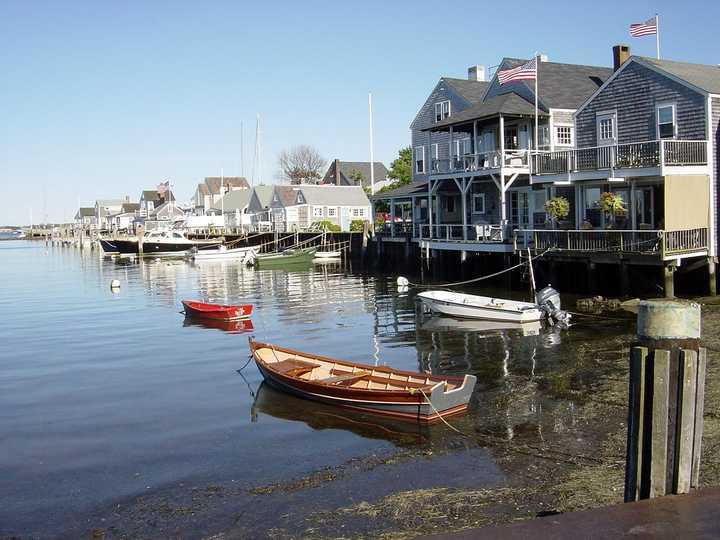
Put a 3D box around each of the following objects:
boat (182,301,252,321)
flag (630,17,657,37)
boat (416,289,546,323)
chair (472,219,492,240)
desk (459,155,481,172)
[{"bbox_3d":[-5.401,1.535,30.495,3.079,0.629,0.607,5,14,38],"label":"boat"},{"bbox_3d":[10.808,-9.226,31.057,0.929,0.600,0.998,1,12,25],"label":"flag"},{"bbox_3d":[4.089,1.215,28.024,3.932,0.673,1.416,7,14,36],"label":"boat"},{"bbox_3d":[5.323,-1.727,35.334,0.890,0.964,0.814,-1,-2,-1],"label":"chair"},{"bbox_3d":[5.106,-4.926,37.324,1.054,0.602,1.004,-5,16,-5],"label":"desk"}]
